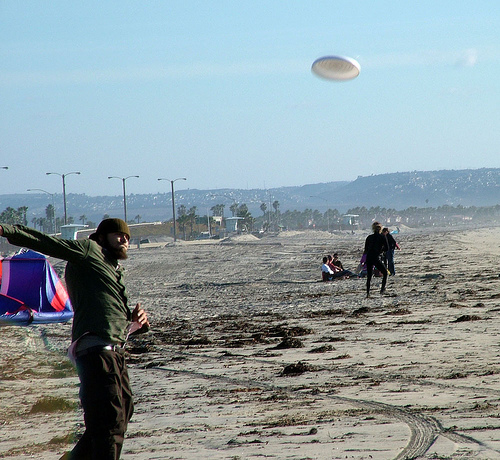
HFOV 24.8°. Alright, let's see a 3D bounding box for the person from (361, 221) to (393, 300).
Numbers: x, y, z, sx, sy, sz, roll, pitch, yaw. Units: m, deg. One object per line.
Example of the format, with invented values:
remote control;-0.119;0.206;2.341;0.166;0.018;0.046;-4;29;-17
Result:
person;2.298;0.522;20.653;0.438;1.383;0.533;2;4;5
